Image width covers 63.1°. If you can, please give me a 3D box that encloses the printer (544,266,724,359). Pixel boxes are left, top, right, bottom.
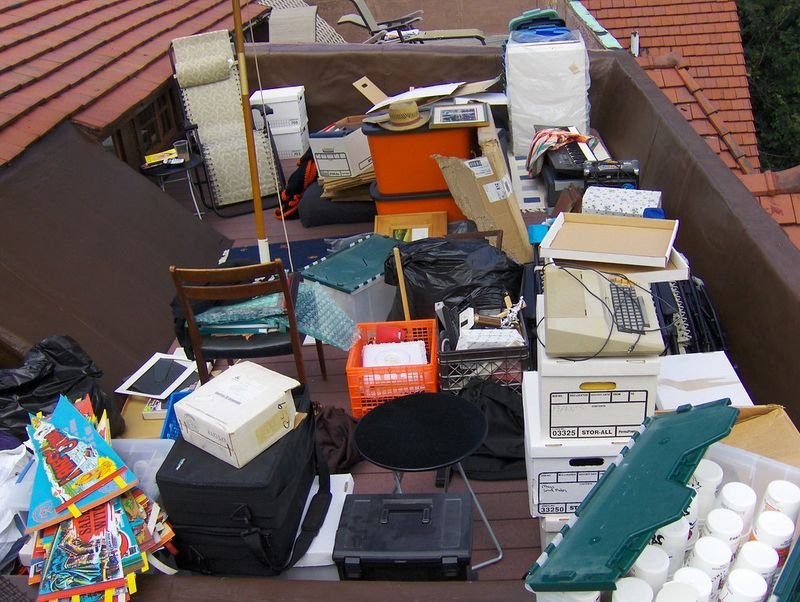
[{"bbox_3d":[0.937,0.026,2.997,0.556,0.171,0.659,-2,29,10],"label":"printer"}]

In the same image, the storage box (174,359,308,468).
[{"bbox_3d":[-0.773,0.522,3.150,0.463,0.199,0.483,14,34,29],"label":"storage box"}]

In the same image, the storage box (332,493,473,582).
[{"bbox_3d":[0.046,1.169,3.086,0.606,0.408,0.386,-4,35,9],"label":"storage box"}]

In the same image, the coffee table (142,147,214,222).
[{"bbox_3d":[-2.104,-1.088,6.238,0.534,0.578,0.526,-6,26,26],"label":"coffee table"}]

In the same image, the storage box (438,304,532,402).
[{"bbox_3d":[0.464,0.280,3.752,0.412,0.268,0.416,-5,40,9],"label":"storage box"}]

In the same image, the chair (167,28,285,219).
[{"bbox_3d":[-1.749,-2.039,6.621,1.008,1.319,1.931,-14,61,-12],"label":"chair"}]

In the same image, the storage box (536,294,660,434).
[{"bbox_3d":[0.823,0.279,2.871,0.482,0.355,0.483,-4,40,3],"label":"storage box"}]

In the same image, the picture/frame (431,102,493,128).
[{"bbox_3d":[0.474,-1.524,5.297,0.471,0.109,0.452,-5,38,4],"label":"picture/frame"}]

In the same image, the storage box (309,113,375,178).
[{"bbox_3d":[-0.510,-1.451,6.177,0.432,0.376,0.648,5,27,26],"label":"storage box"}]

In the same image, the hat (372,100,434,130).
[{"bbox_3d":[0.003,-1.520,5.223,0.471,0.158,0.346,-6,38,2],"label":"hat"}]

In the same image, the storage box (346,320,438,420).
[{"bbox_3d":[-0.054,0.396,4.047,0.577,0.375,0.581,-5,71,10],"label":"storage box"}]

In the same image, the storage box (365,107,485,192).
[{"bbox_3d":[0.210,-1.228,5.445,0.912,0.581,0.635,-6,35,4],"label":"storage box"}]
